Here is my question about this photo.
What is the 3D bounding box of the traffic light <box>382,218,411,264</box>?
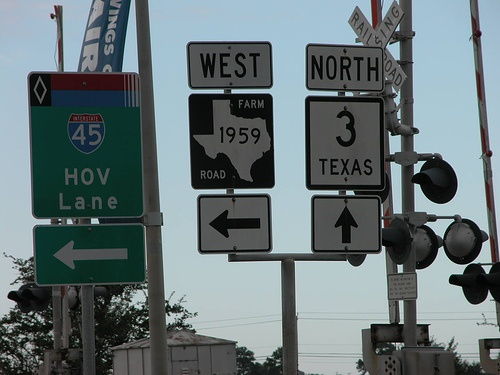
[{"bbox_3d":[2.914,1.069,25.572,0.584,0.894,0.631,-4,-17,6],"label":"traffic light"}]

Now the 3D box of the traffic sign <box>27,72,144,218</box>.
[{"bbox_3d":[-2.740,-0.638,21.161,2.056,3.062,0.309,-2,-1,-3],"label":"traffic sign"}]

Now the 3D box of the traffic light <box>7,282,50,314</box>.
[{"bbox_3d":[-5.332,2.630,31.612,0.992,0.804,1.683,3,-18,-16],"label":"traffic light"}]

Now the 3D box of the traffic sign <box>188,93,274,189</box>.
[{"bbox_3d":[-0.287,-0.672,20.519,1.340,1.713,0.068,-1,0,2],"label":"traffic sign"}]

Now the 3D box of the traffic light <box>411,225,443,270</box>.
[{"bbox_3d":[3.647,1.208,26.716,0.491,0.881,0.464,-4,-17,7],"label":"traffic light"}]

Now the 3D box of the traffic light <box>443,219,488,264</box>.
[{"bbox_3d":[4.533,1.153,27.375,0.899,0.886,0.569,-6,-17,13],"label":"traffic light"}]

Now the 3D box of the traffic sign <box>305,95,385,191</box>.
[{"bbox_3d":[1.477,-0.670,20.795,1.351,1.794,0.181,-1,0,-1],"label":"traffic sign"}]

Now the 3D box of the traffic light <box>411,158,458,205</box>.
[{"bbox_3d":[3.478,-0.128,24.364,0.376,0.734,0.654,-6,24,-42],"label":"traffic light"}]
